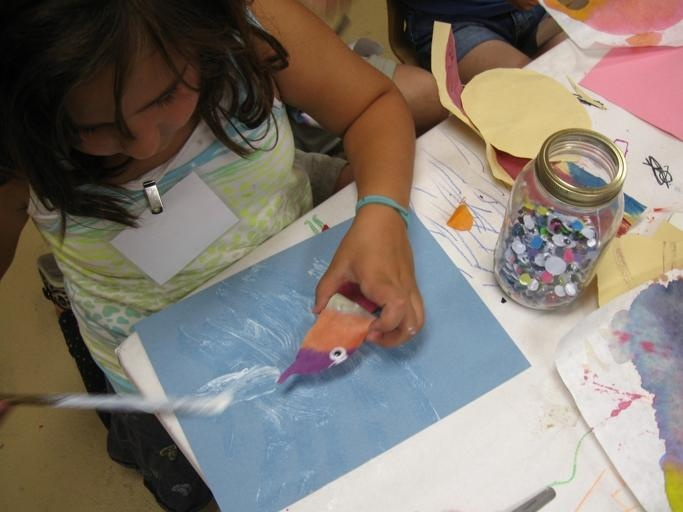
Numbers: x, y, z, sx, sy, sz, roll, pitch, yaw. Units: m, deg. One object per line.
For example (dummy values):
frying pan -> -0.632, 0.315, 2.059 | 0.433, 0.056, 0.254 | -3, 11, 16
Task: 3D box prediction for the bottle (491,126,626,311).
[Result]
bottle -> 0.320, -0.048, 0.832 | 0.155, 0.208, 0.186 | 24, 68, 12
